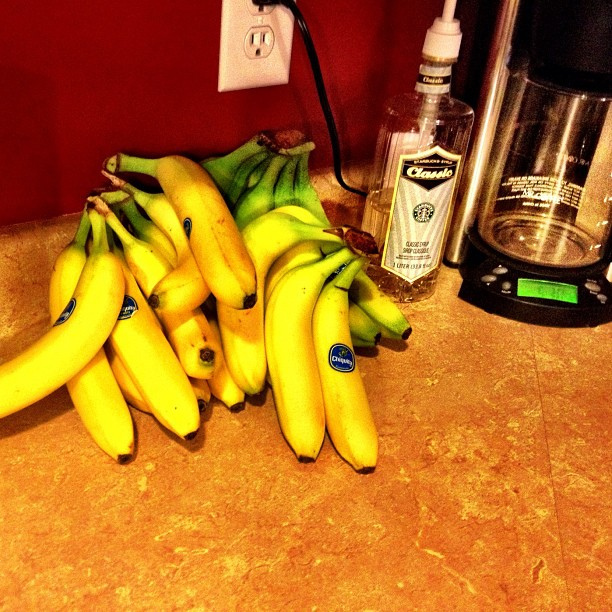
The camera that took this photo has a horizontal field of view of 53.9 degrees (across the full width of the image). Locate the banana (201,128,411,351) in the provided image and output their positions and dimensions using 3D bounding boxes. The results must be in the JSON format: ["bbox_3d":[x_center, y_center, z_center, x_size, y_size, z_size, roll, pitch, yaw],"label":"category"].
[{"bbox_3d":[-0.016,-0.088,0.752,0.157,0.122,0.347,-25,95,-30],"label":"banana"}]

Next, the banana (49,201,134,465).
[{"bbox_3d":[-0.201,0.034,0.569,0.046,0.073,0.241,-9,84,-20],"label":"banana"}]

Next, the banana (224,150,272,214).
[{"bbox_3d":[-0.066,-0.142,0.678,0.020,0.014,0.085,15,81,30],"label":"banana"}]

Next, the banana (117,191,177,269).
[{"bbox_3d":[-0.164,-0.078,0.623,0.026,0.081,0.022,-30,16,22],"label":"banana"}]

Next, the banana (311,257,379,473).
[{"bbox_3d":[0.037,0.071,0.609,0.052,0.075,0.239,8,63,-24],"label":"banana"}]

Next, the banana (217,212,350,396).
[{"bbox_3d":[-0.038,-0.013,0.626,0.044,0.150,0.185,-16,42,39],"label":"banana"}]

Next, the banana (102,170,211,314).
[{"bbox_3d":[-0.166,-0.079,0.639,0.055,0.070,0.223,-31,60,18],"label":"banana"}]

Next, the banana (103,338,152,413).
[{"bbox_3d":[-0.169,0.064,0.569,0.069,0.020,0.018,62,32,-2],"label":"banana"}]

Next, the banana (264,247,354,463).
[{"bbox_3d":[0.009,0.046,0.655,0.089,0.067,0.265,-2,70,15],"label":"banana"}]

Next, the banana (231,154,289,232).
[{"bbox_3d":[-0.042,-0.128,0.713,0.025,0.064,0.085,30,95,-5],"label":"banana"}]

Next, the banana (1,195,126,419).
[{"bbox_3d":[-0.206,0.005,0.587,0.077,0.063,0.179,35,60,-3],"label":"banana"}]

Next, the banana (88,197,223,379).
[{"bbox_3d":[-0.146,-0.014,0.578,0.034,0.057,0.171,-23,84,-8],"label":"banana"}]

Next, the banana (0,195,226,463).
[{"bbox_3d":[-0.171,0.031,0.568,0.198,0.084,0.266,4,76,-8],"label":"banana"}]

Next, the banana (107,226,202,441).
[{"bbox_3d":[-0.145,0.034,0.575,0.039,0.060,0.198,-24,79,-13],"label":"banana"}]

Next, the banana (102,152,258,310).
[{"bbox_3d":[-0.116,-0.085,0.594,0.079,0.055,0.219,-28,67,-21],"label":"banana"}]

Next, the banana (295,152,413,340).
[{"bbox_3d":[0.060,-0.069,0.725,0.047,0.079,0.249,-32,101,-18],"label":"banana"}]
